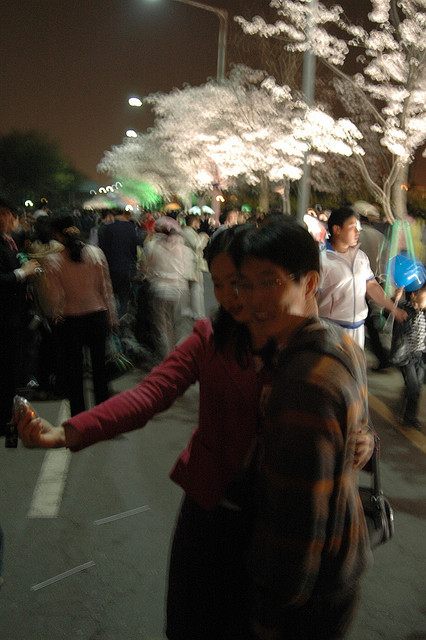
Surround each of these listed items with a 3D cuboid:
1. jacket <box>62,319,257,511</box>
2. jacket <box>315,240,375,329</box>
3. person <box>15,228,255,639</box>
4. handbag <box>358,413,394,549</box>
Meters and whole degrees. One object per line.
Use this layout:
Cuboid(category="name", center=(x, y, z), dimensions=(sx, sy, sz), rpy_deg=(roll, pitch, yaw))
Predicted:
Cuboid(category="jacket", center=(-0.433, 0.589, 2.739), dimensions=(1.437, 1.363, 0.397), rpy_deg=(0, 29, -14))
Cuboid(category="jacket", center=(1.209, -0.322, 4.333), dimensions=(0.476, 0.785, 0.302), rpy_deg=(1, 8, 0))
Cuboid(category="person", center=(-0.134, 0.340, 1.372), dimensions=(0.531, 1.227, 0.621), rpy_deg=(2, 8, 6))
Cuboid(category="handbag", center=(0.449, 0.467, 1.284), dimensions=(0.091, 0.267, 0.257), rpy_deg=(3, 9, 17))
